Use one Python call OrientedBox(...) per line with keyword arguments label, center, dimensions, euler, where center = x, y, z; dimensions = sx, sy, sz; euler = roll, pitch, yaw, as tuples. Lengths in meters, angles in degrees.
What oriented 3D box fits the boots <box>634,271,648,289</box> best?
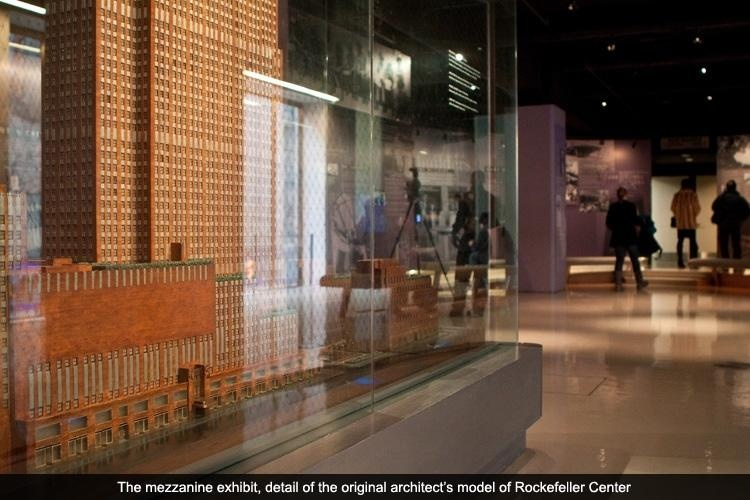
OrientedBox(label="boots", center=(5.128, 0.582, 11.776), dimensions=(0.172, 0.387, 0.387), euler=(-5, 19, 38))
